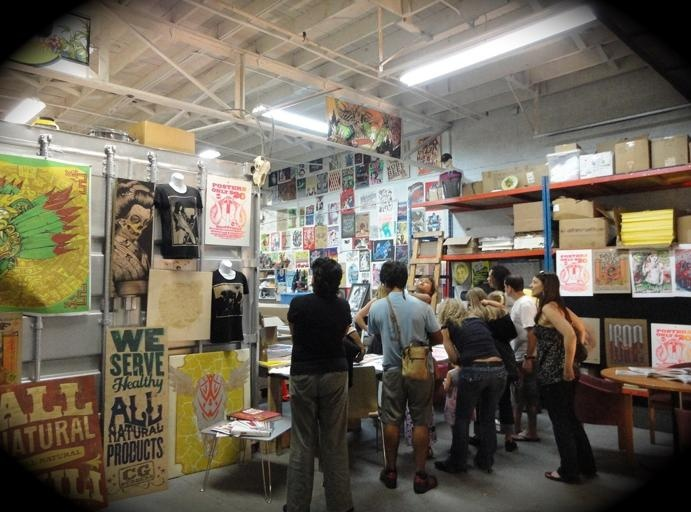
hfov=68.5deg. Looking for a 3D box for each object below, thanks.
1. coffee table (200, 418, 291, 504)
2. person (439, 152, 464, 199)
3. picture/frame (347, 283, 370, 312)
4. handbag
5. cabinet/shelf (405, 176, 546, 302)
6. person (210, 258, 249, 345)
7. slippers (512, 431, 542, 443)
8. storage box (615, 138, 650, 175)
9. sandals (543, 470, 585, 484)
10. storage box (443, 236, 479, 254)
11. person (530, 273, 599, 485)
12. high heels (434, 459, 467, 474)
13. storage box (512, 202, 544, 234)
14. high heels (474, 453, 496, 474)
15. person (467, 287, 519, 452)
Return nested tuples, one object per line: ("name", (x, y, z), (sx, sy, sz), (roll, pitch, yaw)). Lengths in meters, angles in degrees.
("coffee table", (-0.952, 1.964, 4.755), (0.670, 0.437, 0.857), (-1, -10, 8))
("person", (1.779, -1.286, 8.744), (0.400, 0.981, 0.318), (-5, -21, 17))
("picture/frame", (0.267, 0.790, 9.750), (0.250, 0.493, 0.579), (20, -35, -33))
("handbag", (0.590, 0.748, 4.854), (0.328, 0.822, 0.365), (9, -18, -28))
("cabinet/shelf", (2.112, -0.256, 8.017), (0.721, 1.954, 2.115), (8, -11, -40))
("person", (-1.246, 0.479, 5.432), (0.413, 0.862, 0.183), (-1, 3, -16))
("slippers", (2.090, 2.071, 5.864), (0.218, 0.082, 0.138), (2, -9, 13))
("storage box", (3.745, -1.276, 6.720), (0.429, 0.402, 0.408), (2, -1, -32))
("sandals", (2.081, 2.067, 4.850), (0.318, 0.084, 0.115), (-2, -6, 35))
("storage box", (1.873, -0.162, 8.288), (0.532, 0.277, 0.254), (0, 3, 21))
("person", (2.151, 1.145, 4.970), (0.595, 1.968, 0.619), (0, 3, 14))
("high heels", (1.033, 2.082, 5.114), (0.325, 0.138, 0.117), (-1, -6, 40))
("storage box", (2.681, -0.548, 7.449), (0.440, 0.431, 0.455), (2, 0, -4))
("high heels", (1.401, 2.041, 5.123), (0.150, 0.245, 0.199), (11, -9, -26))
("person", (1.547, 1.165, 5.493), (0.572, 1.674, 0.569), (-3, 6, 11))
